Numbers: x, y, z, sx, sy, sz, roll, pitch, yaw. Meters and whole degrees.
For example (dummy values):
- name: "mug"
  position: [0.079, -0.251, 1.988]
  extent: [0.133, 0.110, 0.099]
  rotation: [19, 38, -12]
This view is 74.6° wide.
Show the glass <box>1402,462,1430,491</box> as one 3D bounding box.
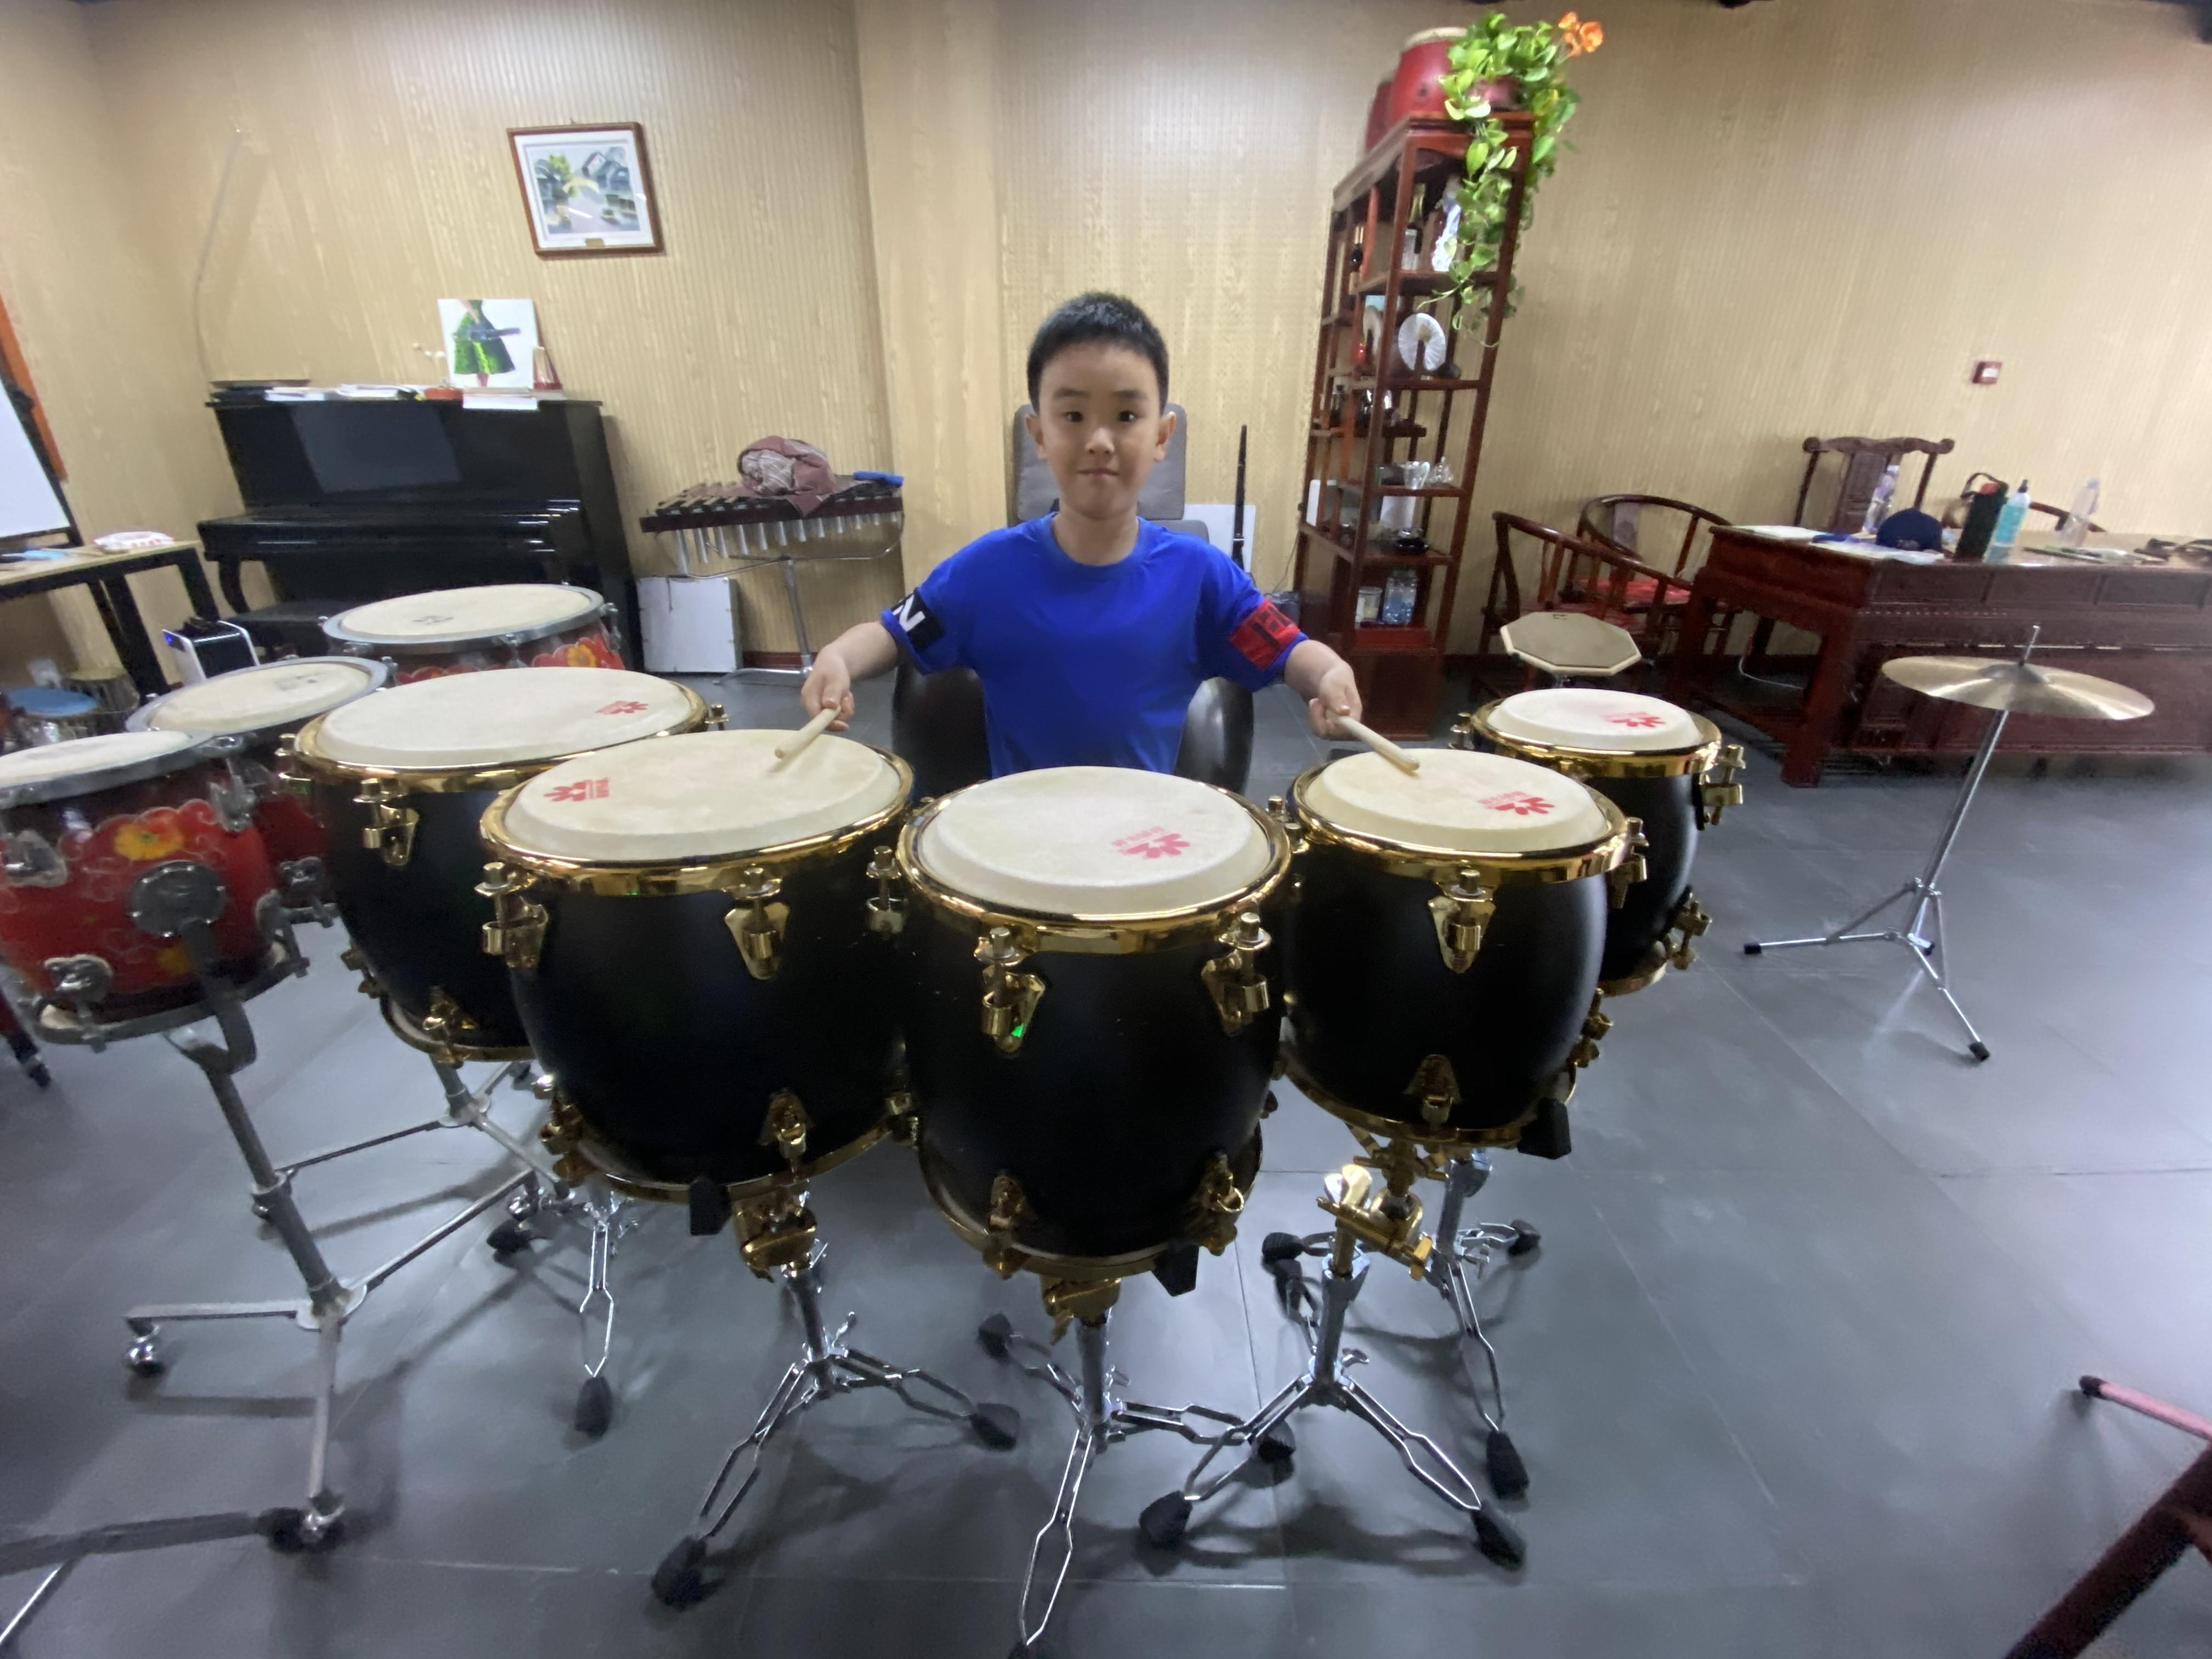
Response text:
- name: "glass"
  position: [1.181, -1.347, 5.502]
  extent: [0.097, 0.072, 0.248]
  rotation: [6, 26, 12]

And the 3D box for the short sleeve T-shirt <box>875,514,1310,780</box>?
- name: "short sleeve T-shirt"
  position: [-0.043, -0.427, 3.565]
  extent: [1.287, 0.852, 0.357]
  rotation: [0, 14, -5]

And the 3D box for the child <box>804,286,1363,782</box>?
- name: "child"
  position: [-0.025, -0.608, 3.150]
  extent: [1.120, 1.018, 0.380]
  rotation: [2, 27, 4]

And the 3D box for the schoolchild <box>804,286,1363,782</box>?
- name: "schoolchild"
  position: [-0.026, -0.608, 3.149]
  extent: [1.121, 1.018, 0.383]
  rotation: [2, 27, 4]

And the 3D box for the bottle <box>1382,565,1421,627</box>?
- name: "bottle"
  position: [1.150, -0.904, 5.615]
  extent: [0.156, 0.208, 0.054]
  rotation: [-11, 29, -22]

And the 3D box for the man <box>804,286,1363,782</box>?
- name: "man"
  position: [-0.027, -0.608, 3.150]
  extent: [1.122, 1.018, 0.379]
  rotation: [2, 27, 4]

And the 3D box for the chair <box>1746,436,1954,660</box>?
- name: "chair"
  position: [3.376, -1.456, 6.565]
  extent: [0.689, 0.987, 0.612]
  rotation: [5, 40, 10]

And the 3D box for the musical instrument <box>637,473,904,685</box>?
- name: "musical instrument"
  position: [-1.368, -0.980, 6.205]
  extent: [1.079, 0.974, 0.960]
  rotation: [-12, 20, -22]

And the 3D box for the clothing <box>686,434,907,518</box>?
- name: "clothing"
  position: [-1.278, -1.396, 5.784]
  extent: [0.618, 0.216, 0.467]
  rotation: [11, 20, 36]

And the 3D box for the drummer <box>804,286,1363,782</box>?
- name: "drummer"
  position: [-0.023, -0.607, 3.148]
  extent: [1.126, 1.018, 0.386]
  rotation: [3, 27, 4]

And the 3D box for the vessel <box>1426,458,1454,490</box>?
- name: "vessel"
  position: [1.286, -1.359, 5.577]
  extent: [0.097, 0.067, 0.420]
  rotation: [6, 26, 11]
